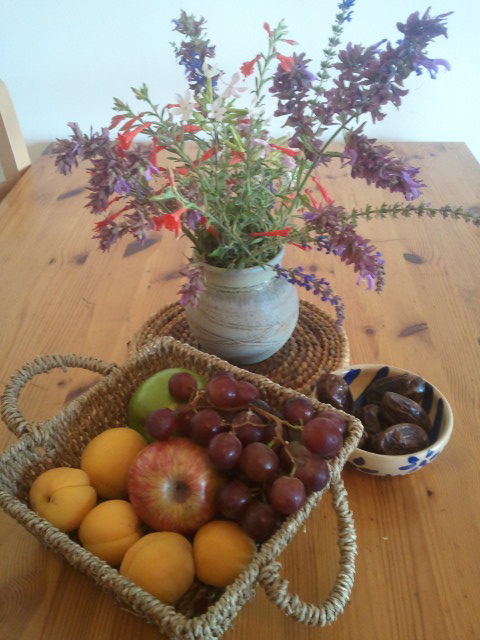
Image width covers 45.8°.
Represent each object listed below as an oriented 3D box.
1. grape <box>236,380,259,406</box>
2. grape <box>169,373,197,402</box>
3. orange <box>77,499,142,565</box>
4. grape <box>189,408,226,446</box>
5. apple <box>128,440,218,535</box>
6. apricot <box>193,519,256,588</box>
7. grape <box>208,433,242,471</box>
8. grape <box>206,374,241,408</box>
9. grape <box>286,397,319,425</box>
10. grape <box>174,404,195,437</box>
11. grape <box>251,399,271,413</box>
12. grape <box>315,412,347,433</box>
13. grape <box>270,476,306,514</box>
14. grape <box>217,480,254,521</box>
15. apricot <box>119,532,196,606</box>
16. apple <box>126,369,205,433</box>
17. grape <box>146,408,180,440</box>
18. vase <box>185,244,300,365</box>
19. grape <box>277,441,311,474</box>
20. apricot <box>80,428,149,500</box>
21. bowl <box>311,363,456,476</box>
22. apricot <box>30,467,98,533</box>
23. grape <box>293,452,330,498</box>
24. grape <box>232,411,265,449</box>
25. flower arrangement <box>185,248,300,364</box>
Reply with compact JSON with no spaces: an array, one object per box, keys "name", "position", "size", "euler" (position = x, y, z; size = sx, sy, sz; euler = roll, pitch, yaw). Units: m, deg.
[{"name":"grape","position":[0.009,0.086,0.671],"size":[0.028,0.028,0.026],"euler":[-1,7,-6]},{"name":"grape","position":[-0.071,0.083,0.713],"size":[0.038,0.033,0.040],"euler":[5,23,-12]},{"name":"orange","position":[-0.138,0.228,0.607],"size":[0.060,0.051,0.057],"euler":[8,29,28]},{"name":"grape","position":[-0.038,0.117,0.631],"size":[0.043,0.044,0.040],"euler":[-3,22,-8]},{"name":"apple","position":[-0.081,0.194,0.683],"size":[0.106,0.095,0.097],"euler":[-2,55,-8]},{"name":"apricot","position":[-0.017,0.247,0.597],"size":[0.066,0.059,0.065],"euler":[4,41,1]},{"name":"grape","position":[-0.017,0.135,0.611],"size":[0.040,0.042,0.036],"euler":[-3,30,-5]},{"name":"grape","position":[-0.019,0.082,0.647],"size":[0.033,0.029,0.041],"euler":[-2,0,-2]},{"name":"grape","position":[0.071,0.101,0.646],"size":[0.035,0.024,0.024],"euler":[6,38,3]},{"name":"grape","position":[-0.066,0.122,0.684],"size":[0.031,0.028,0.039],"euler":[1,3,4]},{"name":"grape","position":[0.027,0.104,0.694],"size":[0.019,0.009,0.014],"euler":[11,10,-27]},{"name":"grape","position":[0.099,0.112,0.633],"size":[0.027,0.028,0.025],"euler":[2,9,-3]},{"name":"grape","position":[0.047,0.171,0.556],"size":[0.038,0.033,0.034],"euler":[1,5,7]},{"name":"grape","position":[-0.002,0.191,0.601],"size":[0.041,0.038,0.038],"euler":[-7,3,-27]},{"name":"apricot","position":[-0.078,0.244,0.572],"size":[0.081,0.058,0.058],"euler":[15,-7,-34]},{"name":"apple","position":[-0.099,0.101,0.782],"size":[0.082,0.050,0.089],"euler":[-12,32,18]},{"name":"grape","position":[-0.085,0.116,0.651],"size":[0.038,0.037,0.033],"euler":[8,0,-5]},{"name":"vase","position":[0.002,-0.022,0.844],"size":[0.171,0.174,0.156],"euler":[-4,30,1]},{"name":"grape","position":[0.055,0.147,0.614],"size":[0.037,0.031,0.034],"euler":[-3,-9,-2]},{"name":"apricot","position":[-0.146,0.161,0.709],"size":[0.075,0.080,0.076],"euler":[17,28,28]},{"name":"bowl","position":[0.189,0.119,0.713],"size":[0.165,0.082,0.156],"euler":[-1,26,0]},{"name":"apricot","position":[-0.196,0.202,0.630],"size":[0.056,0.051,0.053],"euler":[22,26,23]},{"name":"grape","position":[0.073,0.154,0.585],"size":[0.041,0.037,0.040],"euler":[-5,23,-25]},{"name":"grape","position":[0.009,0.120,0.627],"size":[0.033,0.029,0.039],"euler":[-2,22,1]},{"name":"flower arrangement","position":[0.014,-0.021,0.849],"size":[0.162,0.139,0.148],"euler":[-1,29,3]}]
